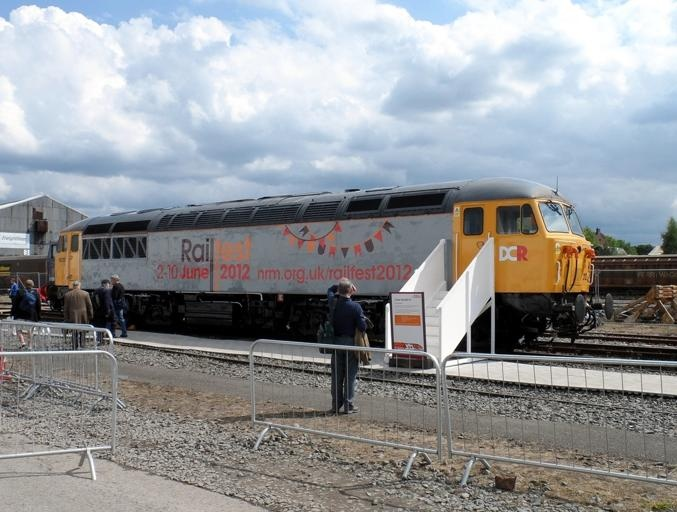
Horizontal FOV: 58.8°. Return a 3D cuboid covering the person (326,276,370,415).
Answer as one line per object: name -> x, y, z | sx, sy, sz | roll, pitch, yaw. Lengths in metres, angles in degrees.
person -> 0.149, 1.204, 8.869 | 0.586, 1.724, 1.421 | 0, -1, 0

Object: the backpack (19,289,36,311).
backpack -> -8.784, 1.200, 16.708 | 0.389, 0.610, 0.559 | 12, -22, -40

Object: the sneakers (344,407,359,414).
sneakers -> 0.168, 2.038, 7.966 | 0.177, 0.064, 0.345 | 0, -1, -10

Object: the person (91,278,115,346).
person -> -6.677, 1.399, 16.970 | 0.547, 1.467, 0.879 | 1, -1, -23
